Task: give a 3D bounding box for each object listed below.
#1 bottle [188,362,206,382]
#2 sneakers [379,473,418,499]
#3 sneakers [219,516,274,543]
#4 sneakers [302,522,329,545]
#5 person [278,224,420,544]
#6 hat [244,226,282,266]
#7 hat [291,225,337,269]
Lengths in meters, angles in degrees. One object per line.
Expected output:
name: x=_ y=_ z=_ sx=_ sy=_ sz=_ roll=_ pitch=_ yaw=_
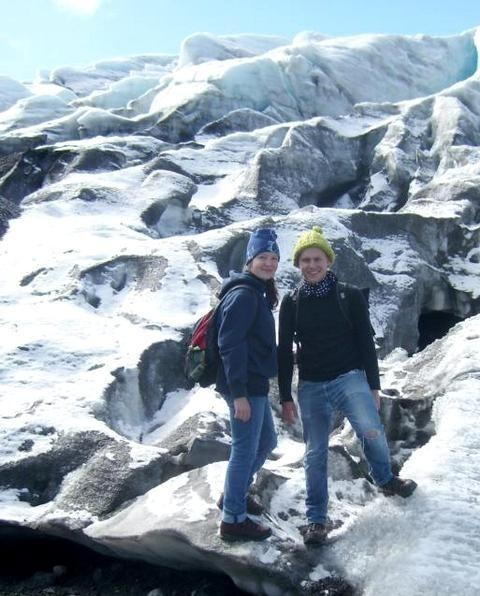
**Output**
bottle: x=-0.271 y=0.464 z=4.162 sx=0.107 sy=0.122 sz=0.069 roll=22 pitch=-3 yaw=6
sneakers: x=1.044 y=1.216 z=4.235 sx=0.291 sy=0.124 sz=0.104 roll=-9 pitch=42 yaw=16
sneakers: x=0.032 y=1.406 z=4.008 sx=0.385 sy=0.145 sz=0.114 roll=0 pitch=9 yaw=-7
sneakers: x=0.463 y=1.470 z=4.076 sx=0.093 sy=0.086 sz=0.212 roll=7 pitch=-9 yaw=11
person: x=0.632 y=0.519 z=4.228 sx=0.767 sy=1.997 sz=0.519 roll=-6 pitch=3 yaw=2
hat: x=0.180 y=-0.366 z=4.422 sx=0.240 sy=0.227 sz=0.286 roll=6 pitch=-4 yaw=-36
hat: x=0.480 y=-0.367 z=4.466 sx=0.309 sy=0.262 sz=0.284 roll=1 pitch=-20 yaw=0
